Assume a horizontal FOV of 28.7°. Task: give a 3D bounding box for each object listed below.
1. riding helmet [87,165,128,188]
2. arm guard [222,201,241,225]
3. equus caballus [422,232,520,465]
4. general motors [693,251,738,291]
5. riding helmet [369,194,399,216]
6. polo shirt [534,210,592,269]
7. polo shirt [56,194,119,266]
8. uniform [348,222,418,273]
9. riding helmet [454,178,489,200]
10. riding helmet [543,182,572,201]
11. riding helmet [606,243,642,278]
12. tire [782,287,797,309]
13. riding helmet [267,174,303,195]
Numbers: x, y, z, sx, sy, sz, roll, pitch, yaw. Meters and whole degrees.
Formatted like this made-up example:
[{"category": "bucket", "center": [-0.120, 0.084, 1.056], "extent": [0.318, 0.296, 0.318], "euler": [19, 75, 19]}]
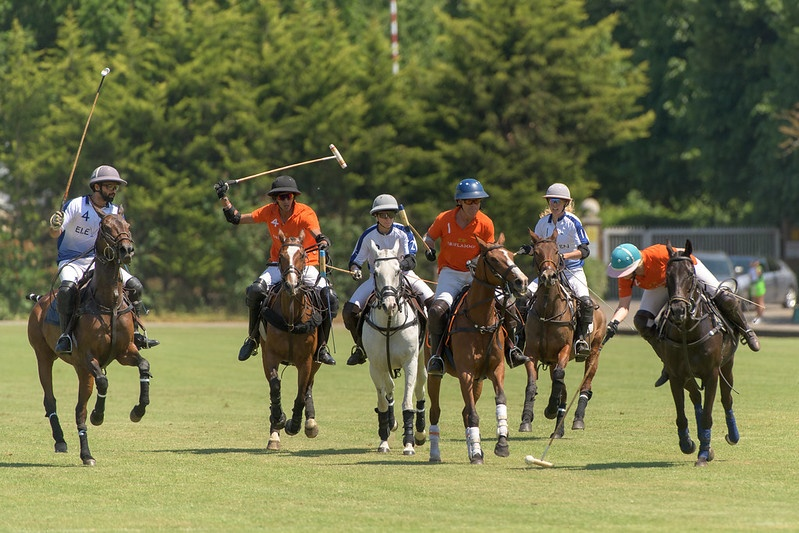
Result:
[{"category": "riding helmet", "center": [-6.423, -1.999, 34.091], "extent": [0.676, 0.348, 0.555], "euler": [-3, 0, 1]}, {"category": "arm guard", "center": [-3.829, -1.206, 35.354], "extent": [0.393, 0.370, 0.452], "euler": [-34, 13, 8]}, {"category": "equus caballus", "center": [1.678, 1.672, 33.272], "extent": [2.163, 4.801, 1.416], "euler": [0, 0, 10]}, {"category": "general motors", "center": [10.890, -0.112, 53.150], "extent": [1.681, 1.269, 3.590], "euler": [2, 5, 4]}, {"category": "riding helmet", "center": [-0.313, -1.410, 34.524], "extent": [0.640, 0.419, 0.439], "euler": [0, 0, -2]}, {"category": "polo shirt", "center": [3.689, -0.611, 36.115], "extent": [1.330, 1.383, 0.910], "euler": [6, 11, 15]}, {"category": "polo shirt", "center": [-6.742, -0.793, 33.897], "extent": [1.303, 1.447, 0.879], "euler": [8, 5, -22]}, {"category": "uniform", "center": [-0.368, -0.375, 34.798], "extent": [1.436, 1.182, 1.952], "euler": [-5, 20, 0]}, {"category": "riding helmet", "center": [1.520, -1.708, 33.717], "extent": [0.570, 0.277, 0.454], "euler": [-1, 4, 33]}, {"category": "riding helmet", "center": [3.657, -1.758, 36.122], "extent": [0.639, 0.401, 0.731], "euler": [0, 0, -18]}, {"category": "riding helmet", "center": [4.877, -0.153, 33.516], "extent": [0.751, 0.415, 0.594], "euler": [-45, 40, -21]}, {"category": "tire", "center": [14.615, 1.112, 58.392], "extent": [0.176, 0.681, 0.687], "euler": [20, 42, 8]}, {"category": "riding helmet", "center": [-2.592, -1.835, 34.999], "extent": [0.675, 0.457, 0.720], "euler": [0, 0, -7]}]
